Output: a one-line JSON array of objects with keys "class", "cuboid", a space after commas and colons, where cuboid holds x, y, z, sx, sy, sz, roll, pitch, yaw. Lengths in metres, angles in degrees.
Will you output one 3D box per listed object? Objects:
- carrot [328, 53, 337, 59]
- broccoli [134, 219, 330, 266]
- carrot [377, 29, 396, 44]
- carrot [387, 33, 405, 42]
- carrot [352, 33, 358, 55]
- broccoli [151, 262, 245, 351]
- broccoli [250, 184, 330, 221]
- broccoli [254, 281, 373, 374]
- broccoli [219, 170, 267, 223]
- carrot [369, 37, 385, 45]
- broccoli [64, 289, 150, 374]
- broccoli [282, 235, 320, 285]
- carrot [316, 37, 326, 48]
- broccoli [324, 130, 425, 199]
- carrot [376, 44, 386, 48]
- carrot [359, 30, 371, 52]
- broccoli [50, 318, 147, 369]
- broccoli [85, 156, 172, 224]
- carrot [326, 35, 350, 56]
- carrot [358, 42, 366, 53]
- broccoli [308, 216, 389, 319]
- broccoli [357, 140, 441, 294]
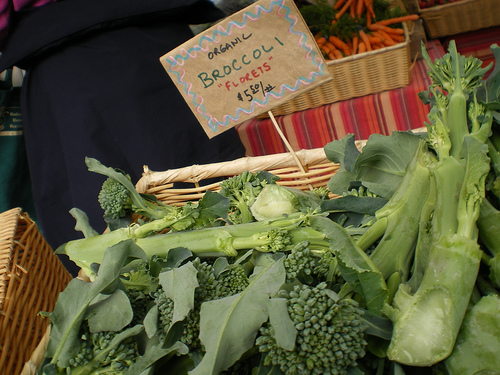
[{"class": "carrot", "cuboid": [0.479, -0.752, 2.464, 0.020, 0.032, 0.066, -24, 13, -20]}, {"class": "broccoli", "cuboid": [-0.034, 0.125, 0.955, 0.243, 0.094, 0.077, -8, 5, 19]}, {"class": "carrot", "cuboid": [0.767, -0.859, 2.419, 0.027, 0.028, 0.160, -21, 62, -19]}, {"class": "carrot", "cuboid": [0.817, -0.831, 2.394, 0.109, 0.032, 0.034, 35, 38, 18]}, {"class": "carrot", "cuboid": [0.603, -0.817, 2.434, 0.021, 0.032, 0.126, 5, 70, 6]}, {"class": "broccoli", "cuboid": [-0.100, 0.190, 0.859, 0.166, 0.069, 0.179, -53, 20, 28]}, {"class": "broccoli", "cuboid": [0.099, 0.021, 1.122, 0.127, 0.066, 0.115, -20, 7, -24]}, {"class": "broccoli", "cuboid": [0.111, 0.255, 0.755, 0.193, 0.147, 0.080, -20, 13, 5]}, {"class": "broccoli", "cuboid": [-0.023, 0.015, 1.196, 0.087, 0.069, 0.148, -11, 28, 2]}, {"class": "carrot", "cuboid": [0.715, -0.818, 2.394, 0.029, 0.030, 0.090, -28, 30, -33]}, {"class": "broccoli", "cuboid": [-0.288, 0.290, 0.888, 0.153, 0.039, 0.104, -35, 49, -23]}, {"class": "broccoli", "cuboid": [0.102, 0.152, 0.886, 0.042, 0.081, 0.084, -9, 13, -13]}, {"class": "carrot", "cuboid": [0.421, -0.848, 2.502, 0.070, 0.034, 0.022, -50, 19, 0]}, {"class": "broccoli", "cuboid": [0.308, -0.062, 1.065, 0.179, 0.076, 0.174, -40, 23, -32]}, {"class": "carrot", "cuboid": [0.729, -0.780, 2.353, 0.022, 0.017, 0.086, 9, 21, -16]}, {"class": "carrot", "cuboid": [0.656, -0.825, 2.411, 0.029, 0.031, 0.166, -22, 46, 13]}, {"class": "broccoli", "cuboid": [-0.293, 0.309, 0.834, 0.150, 0.072, 0.095, -18, 52, -11]}, {"class": "broccoli", "cuboid": [-0.336, 0.022, 1.267, 0.225, 0.134, 0.170, 9, 37, 12]}, {"class": "carrot", "cuboid": [0.508, -0.833, 2.494, 0.053, 0.064, 0.191, -22, 45, -16]}, {"class": "carrot", "cuboid": [0.634, -0.782, 2.381, 0.034, 0.029, 0.070, -2, 53, 9]}, {"class": "broccoli", "cuboid": [0.187, 0.150, 0.738, 0.066, 0.286, 0.049, -45, 55, 1]}, {"class": "broccoli", "cuboid": [0.320, 0.062, 0.899, 0.129, 0.073, 0.284, 4, 65, 43]}]
